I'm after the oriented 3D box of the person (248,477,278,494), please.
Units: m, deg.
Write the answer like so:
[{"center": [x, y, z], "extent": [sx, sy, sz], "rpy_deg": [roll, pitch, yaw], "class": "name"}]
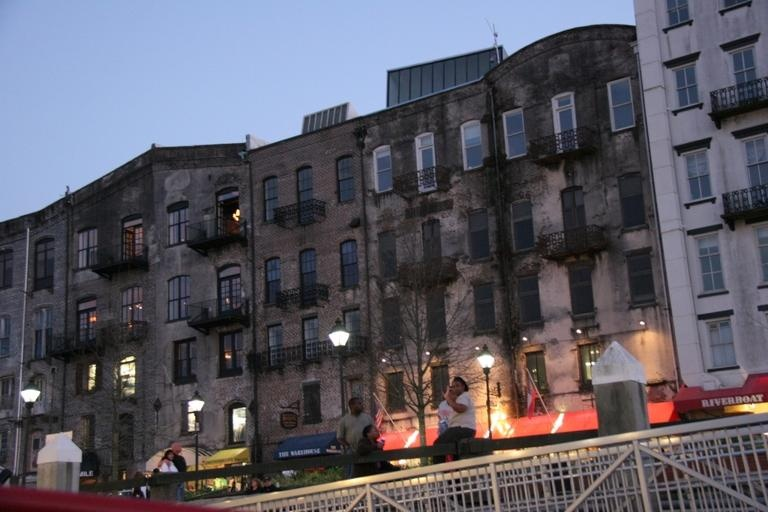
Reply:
[{"center": [-4.637, 8.718, 46.661], "extent": [0.766, 0.507, 1.106], "rpy_deg": [0, -19, 5], "class": "person"}]
